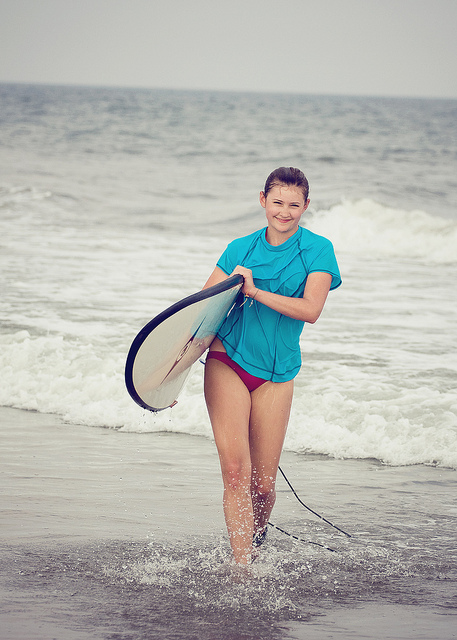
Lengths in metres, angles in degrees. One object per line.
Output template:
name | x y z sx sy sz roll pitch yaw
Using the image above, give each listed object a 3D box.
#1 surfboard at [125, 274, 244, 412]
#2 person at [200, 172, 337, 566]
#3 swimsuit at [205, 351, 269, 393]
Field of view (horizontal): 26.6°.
surfboard | -0.174 0.165 4.441 0.639 0.805 0.165 -13 -55 25
person | 0.161 0.303 4.671 0.619 2.021 0.507 5 9 -3
swimsuit | 0.027 0.247 4.692 0.251 0.175 0.064 26 -26 6
